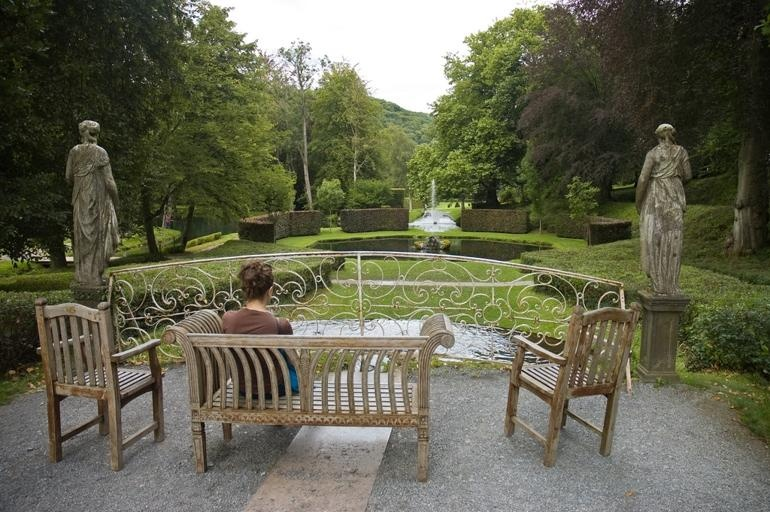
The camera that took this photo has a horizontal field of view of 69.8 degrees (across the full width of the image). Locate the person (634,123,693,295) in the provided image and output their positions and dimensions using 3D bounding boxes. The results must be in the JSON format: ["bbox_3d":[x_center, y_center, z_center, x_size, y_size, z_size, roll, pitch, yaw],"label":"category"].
[{"bbox_3d":[4.362,-0.721,8.638,0.717,2.649,0.572,1,8,29],"label":"person"}]

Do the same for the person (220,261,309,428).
[{"bbox_3d":[-1.703,0.951,7.477,1.183,1.709,1.158,-3,8,-40],"label":"person"}]

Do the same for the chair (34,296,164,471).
[{"bbox_3d":[-3.701,1.595,7.219,1.398,2.214,0.706,-2,7,5],"label":"chair"}]
